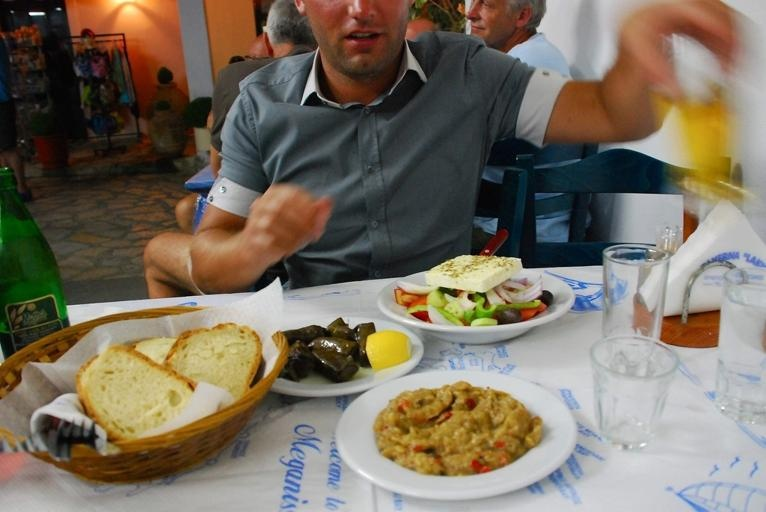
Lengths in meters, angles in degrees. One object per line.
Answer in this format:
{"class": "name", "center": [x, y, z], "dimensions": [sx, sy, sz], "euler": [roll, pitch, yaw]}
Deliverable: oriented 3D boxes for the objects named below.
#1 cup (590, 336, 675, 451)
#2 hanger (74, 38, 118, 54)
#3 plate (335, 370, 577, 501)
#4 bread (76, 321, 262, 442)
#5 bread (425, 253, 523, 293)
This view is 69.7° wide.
{"class": "cup", "center": [0.451, 0.252, 1.003], "dimensions": [0.135, 0.154, 0.138], "euler": [-2, 24, 1]}
{"class": "hanger", "center": [-4.790, -3.505, 9.221], "dimensions": [0.463, 0.249, 0.591], "euler": [-9, 17, -28]}
{"class": "plate", "center": [0.128, 0.329, 1.029], "dimensions": [0.427, 0.080, 0.322], "euler": [-9, 23, -18]}
{"class": "bread", "center": [-0.403, 0.228, 1.054], "dimensions": [0.248, 0.056, 0.177], "euler": [-21, 52, -42]}
{"class": "bread", "center": [0.210, 0.044, 1.393], "dimensions": [0.132, 0.037, 0.137], "euler": [2, 23, 42]}
